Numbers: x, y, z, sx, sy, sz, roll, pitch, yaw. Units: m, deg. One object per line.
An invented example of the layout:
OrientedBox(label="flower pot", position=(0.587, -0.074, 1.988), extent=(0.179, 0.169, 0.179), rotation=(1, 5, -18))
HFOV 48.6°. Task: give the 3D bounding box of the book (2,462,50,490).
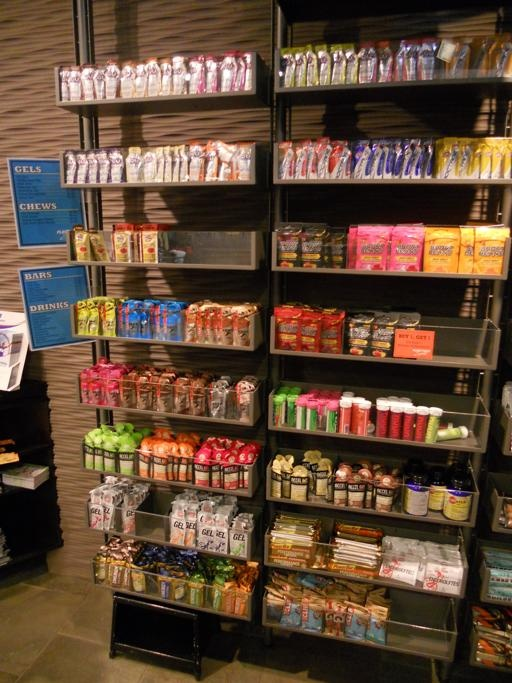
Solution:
OrientedBox(label="book", position=(-1.521, 0.912, 3.726), extent=(0.239, 0.165, 0.212), rotation=(2, 12, 7))

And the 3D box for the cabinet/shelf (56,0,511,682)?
OrientedBox(label="cabinet/shelf", position=(0.300, 0.015, 2.932), extent=(1.791, 3.407, 0.697), rotation=(7, 14, 28))

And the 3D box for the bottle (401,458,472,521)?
OrientedBox(label="bottle", position=(0.859, 0.692, 2.685), extent=(0.319, 0.203, 0.284), rotation=(5, 13, 19))
